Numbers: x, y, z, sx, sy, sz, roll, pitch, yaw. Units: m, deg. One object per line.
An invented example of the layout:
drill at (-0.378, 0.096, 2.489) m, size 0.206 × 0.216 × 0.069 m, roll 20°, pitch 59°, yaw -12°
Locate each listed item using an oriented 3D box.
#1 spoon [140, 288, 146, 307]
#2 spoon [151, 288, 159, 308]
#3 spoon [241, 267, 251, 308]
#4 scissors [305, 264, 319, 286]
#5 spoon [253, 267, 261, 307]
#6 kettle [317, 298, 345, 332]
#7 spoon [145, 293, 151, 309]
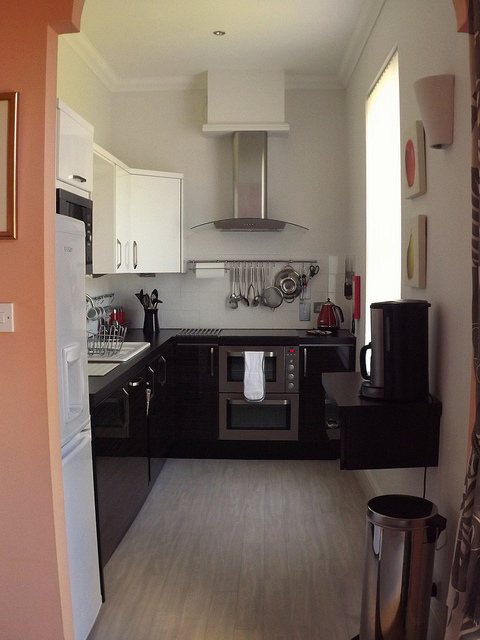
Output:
spoon at (-0.768, -0.185, 3.842) m, size 0.042 × 0.137 × 0.277 m, roll -1°, pitch 3°, yaw -12°
spoon at (-0.673, -0.181, 3.850) m, size 0.059 × 0.146 × 0.242 m, roll -1°, pitch 3°, yaw -10°
spoon at (0.046, -0.264, 3.913) m, size 0.055 × 0.315 × 0.025 m, roll 0°, pitch 2°, yaw 0°
scissors at (0.575, -0.364, 3.884) m, size 0.108 × 0.158 × 0.031 m, roll -1°, pitch 3°, yaw -16°
spoon at (0.134, -0.264, 3.913) m, size 0.040 × 0.314 × 0.021 m, roll 0°, pitch 2°, yaw 3°
kettle at (0.685, -0.040, 3.718) m, size 0.189 × 0.359 × 0.177 m, roll 1°, pitch 1°, yaw 8°
spoon at (-0.722, -0.146, 3.805) m, size 0.030 × 0.165 × 0.026 m, roll -2°, pitch -26°, yaw 5°
